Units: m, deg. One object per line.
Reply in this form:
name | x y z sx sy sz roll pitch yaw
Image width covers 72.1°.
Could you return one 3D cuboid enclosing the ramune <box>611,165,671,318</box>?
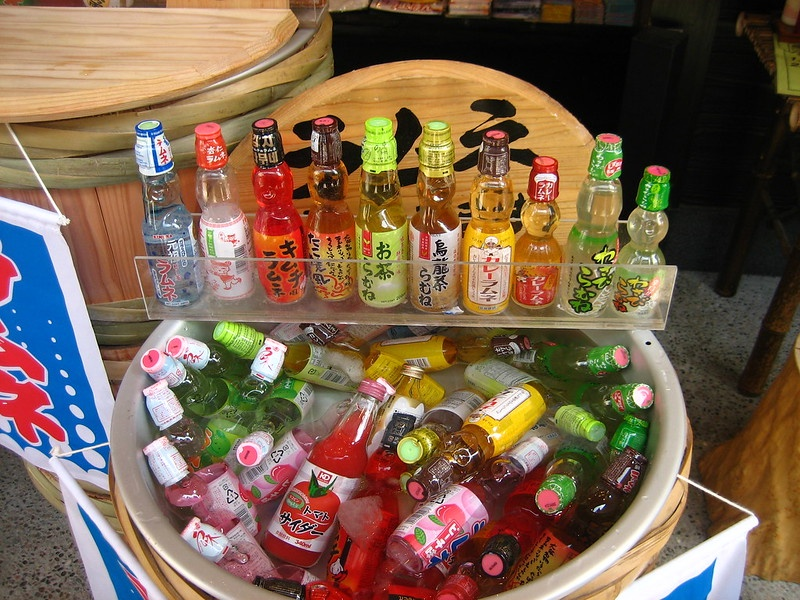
ramune | 0.513 -0.129 1.128 0.100 0.295 0.200 15 38 20
